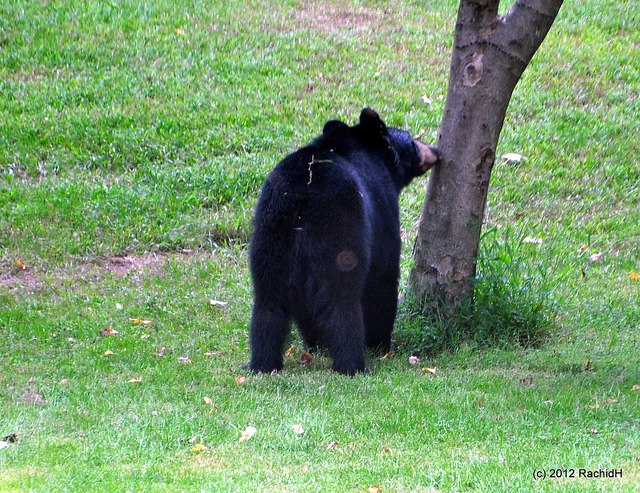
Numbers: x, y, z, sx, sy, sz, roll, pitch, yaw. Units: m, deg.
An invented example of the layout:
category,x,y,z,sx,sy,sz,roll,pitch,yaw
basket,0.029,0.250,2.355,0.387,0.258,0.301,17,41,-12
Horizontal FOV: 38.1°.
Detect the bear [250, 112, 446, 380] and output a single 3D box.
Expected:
category,x,y,z,sx,sy,sz,roll,pitch,yaw
bear,0.249,-0.040,10.473,1.272,2.763,2.238,17,21,36
